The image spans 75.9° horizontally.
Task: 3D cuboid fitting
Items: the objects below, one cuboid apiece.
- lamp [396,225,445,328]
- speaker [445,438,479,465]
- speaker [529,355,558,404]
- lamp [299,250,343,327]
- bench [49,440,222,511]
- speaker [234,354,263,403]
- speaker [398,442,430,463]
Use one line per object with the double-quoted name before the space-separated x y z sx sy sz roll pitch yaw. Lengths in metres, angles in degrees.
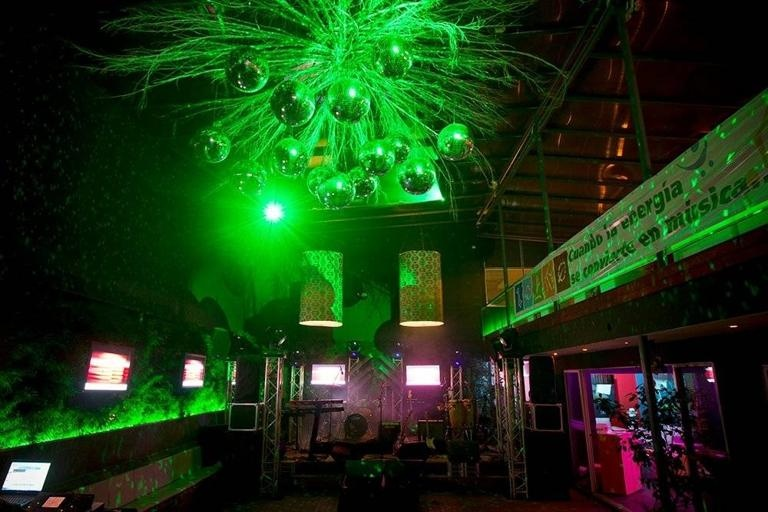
"lamp" 0.923 0.687 12.147 1.005 1.836 0.744 0 -20 -1
"speaker" 1.863 4.550 11.453 0.842 0.577 0.471 1 -22 3
"speaker" 3.553 2.769 11.072 0.555 0.971 0.465 -4 -21 11
"lamp" -1.500 0.742 12.062 0.996 1.667 0.803 4 -21 -9
"bench" -4.234 4.130 9.331 0.858 0.972 3.118 -2 -21 6
"speaker" -3.104 2.805 11.257 0.550 0.977 0.369 3 -20 -7
"speaker" 0.662 4.311 10.859 0.705 0.401 0.298 0 -20 0
